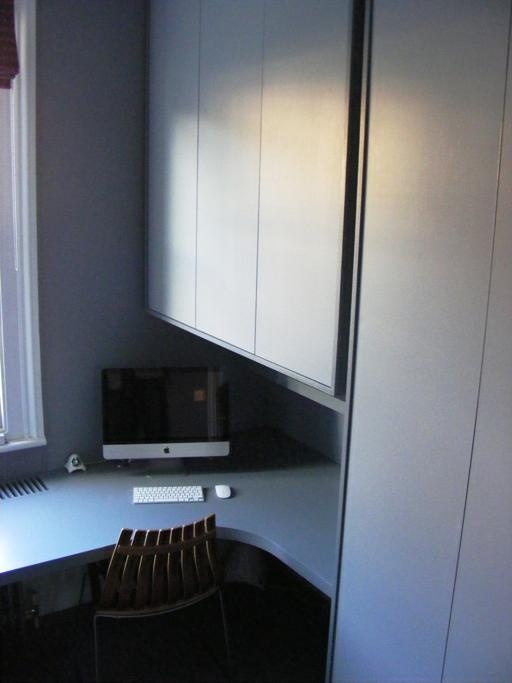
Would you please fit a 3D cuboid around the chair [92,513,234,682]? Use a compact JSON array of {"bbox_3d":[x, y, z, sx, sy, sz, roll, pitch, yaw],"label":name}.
[{"bbox_3d":[-0.278,0.693,1.889,0.312,0.719,0.390,-3,17,-18],"label":"chair"}]
